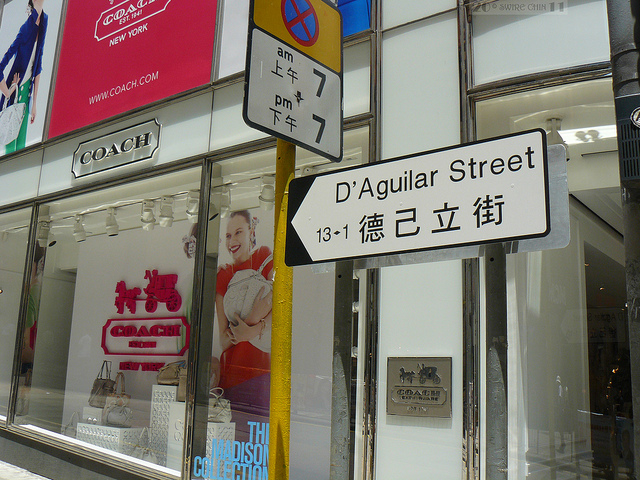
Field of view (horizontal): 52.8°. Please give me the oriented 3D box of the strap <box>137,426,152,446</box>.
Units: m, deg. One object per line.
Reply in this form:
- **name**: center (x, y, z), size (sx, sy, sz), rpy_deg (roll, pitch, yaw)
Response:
- **strap**: center (-1.794, 2.041, 6.676), size (0.104, 0.183, 0.054), rpy_deg (0, -20, 9)

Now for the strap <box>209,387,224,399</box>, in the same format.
- **strap**: center (-0.980, 1.469, 6.149), size (0.099, 0.081, 0.017), rpy_deg (-12, -37, -39)

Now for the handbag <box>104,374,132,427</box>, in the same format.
- **handbag**: center (-2.284, 1.807, 7.306), size (0.351, 0.576, 0.204), rpy_deg (4, -12, 8)

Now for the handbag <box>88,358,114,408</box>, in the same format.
- **handbag**: center (-2.553, 1.702, 7.557), size (0.320, 0.541, 0.133), rpy_deg (-19, -39, 33)

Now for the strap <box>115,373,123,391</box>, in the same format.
- **strap**: center (-2.309, 1.646, 7.454), size (0.042, 0.205, 0.152), rpy_deg (14, -20, -41)

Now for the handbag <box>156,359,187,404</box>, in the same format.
- **handbag**: center (-1.586, 1.463, 6.750), size (0.328, 0.507, 0.156), rpy_deg (-15, -29, 34)

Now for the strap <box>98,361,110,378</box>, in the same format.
- **strap**: center (-2.551, 1.539, 7.671), size (0.183, 0.188, 0.044), rpy_deg (-11, -19, 38)

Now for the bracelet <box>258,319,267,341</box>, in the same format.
- **bracelet**: center (-0.553, 0.878, 6.393), size (0.112, 0.165, 0.046), rpy_deg (-7, -19, 37)
